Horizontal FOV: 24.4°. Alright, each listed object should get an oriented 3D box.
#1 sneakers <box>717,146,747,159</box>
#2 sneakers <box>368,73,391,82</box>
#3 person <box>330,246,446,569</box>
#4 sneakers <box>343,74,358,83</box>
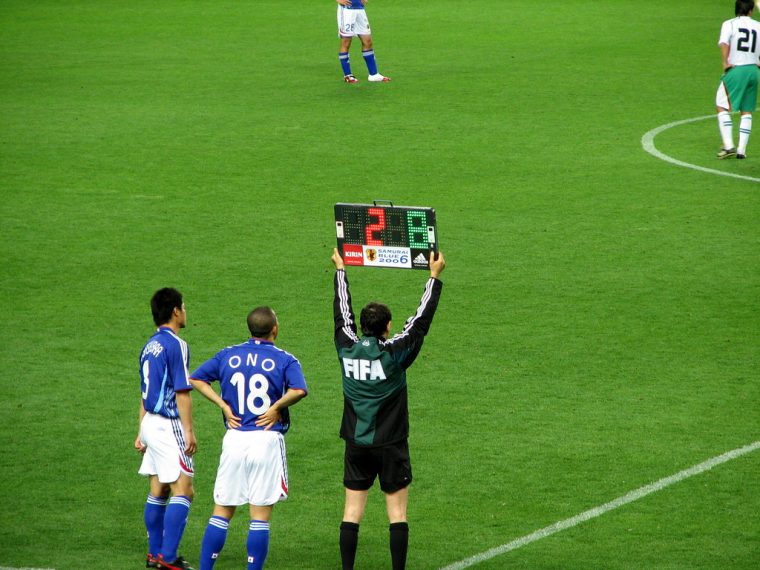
[{"bbox_3d":[5.465,-2.029,27.280,0.167,0.182,0.415,-6,12,-28],"label":"sneakers"},{"bbox_3d":[-0.039,-3.676,31.331,0.335,0.145,0.146,0,7,1],"label":"sneakers"},{"bbox_3d":[0.084,1.550,18.609,1.087,2.944,1.178,-2,14,2],"label":"person"},{"bbox_3d":[-0.547,-3.629,31.260,0.112,0.117,0.253,-11,10,-23],"label":"sneakers"}]
